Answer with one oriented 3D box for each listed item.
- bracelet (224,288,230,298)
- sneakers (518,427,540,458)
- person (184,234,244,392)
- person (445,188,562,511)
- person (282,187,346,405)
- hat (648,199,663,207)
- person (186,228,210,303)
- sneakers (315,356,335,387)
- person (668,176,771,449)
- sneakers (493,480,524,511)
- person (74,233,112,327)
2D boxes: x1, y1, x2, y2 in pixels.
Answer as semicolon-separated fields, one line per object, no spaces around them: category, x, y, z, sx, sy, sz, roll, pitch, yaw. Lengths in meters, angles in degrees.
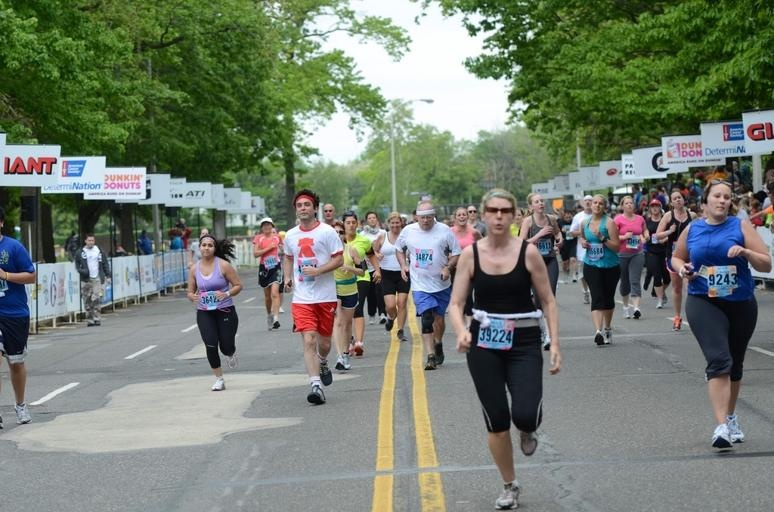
bracelet;-2.325;0.544;13.901;0.091;0.120;0.043;3;-15;-21
sneakers;1.345;1.741;9.252;0.164;0.193;0.439;-6;15;3
person;-2.535;0.800;14.189;0.757;2.246;1.209;-4;4;-11
person;1.116;0.890;9.105;1.006;3.038;0.584;-2;4;7
person;-0.968;0.527;12.882;0.756;2.830;0.942;-4;4;-8
hat;5.591;-1.118;20.047;0.263;0.148;0.415;-6;-3;18
person;-3.829;0.227;19.414;0.433;1.343;0.406;11;12;-11
sneakers;-0.860;1.594;13.149;0.142;0.410;0.166;-11;-3;-3
person;3.684;0.610;10.506;0.888;2.859;0.968;-4;4;-9
sneakers;1.150;2.298;9.143;0.158;0.155;0.347;-5;-3;14
person;-7.463;0.590;24.166;0.679;2.272;1.086;-4;4;-10
